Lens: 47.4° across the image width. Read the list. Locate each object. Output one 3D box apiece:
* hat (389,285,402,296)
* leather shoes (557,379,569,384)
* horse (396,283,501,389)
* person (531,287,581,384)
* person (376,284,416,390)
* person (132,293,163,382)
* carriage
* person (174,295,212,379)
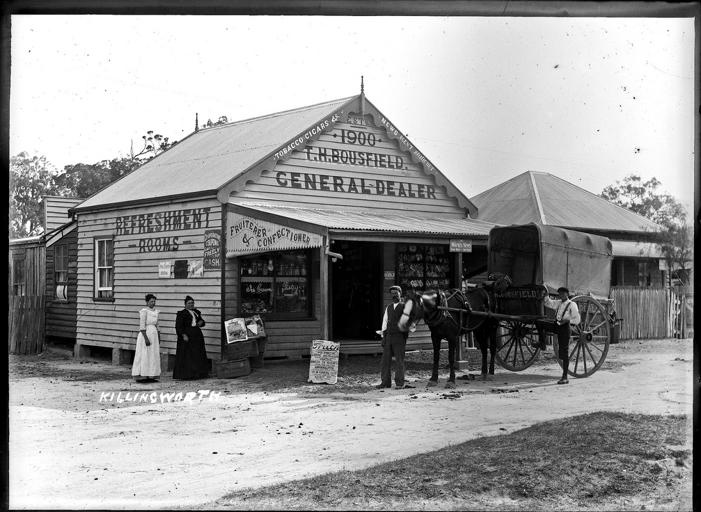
[{"bbox_3d":[1.103,0.873,20.060,0.310,0.159,0.466,2,-16,2],"label":"hat"},{"bbox_3d":[5.052,2.990,19.118,0.275,0.106,0.412,0,2,14],"label":"leather shoes"},{"bbox_3d":[2.524,1.933,19.472,3.678,2.233,1.031,3,-4,-43],"label":"horse"},{"bbox_3d":[5.086,1.904,19.723,0.988,2.314,1.574,0,2,13],"label":"person"},{"bbox_3d":[0.975,1.913,18.603,0.635,2.370,1.126,0,2,-3],"label":"person"},{"bbox_3d":[-5.306,2.136,20.759,0.720,2.280,0.583,-2,2,-28],"label":"person"},{"bbox_3d":[3.970,1.230,20.676,5.923,4.114,3.169,6,-7,-33],"label":"carriage"},{"bbox_3d":[-4.169,2.155,20.862,0.831,2.155,0.449,-1,2,-14],"label":"person"}]
